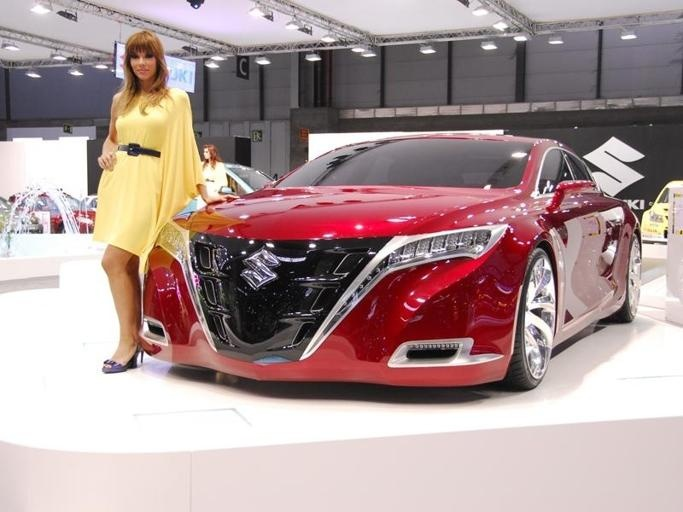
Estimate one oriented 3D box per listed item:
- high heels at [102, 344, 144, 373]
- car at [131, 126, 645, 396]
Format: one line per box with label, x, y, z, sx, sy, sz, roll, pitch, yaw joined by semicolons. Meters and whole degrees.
high heels;-1.125;0.548;2.372;0.097;0.108;0.280;1;-5;25
car;0.661;-0.121;2.527;1.326;0.787;2.409;-1;-2;34
